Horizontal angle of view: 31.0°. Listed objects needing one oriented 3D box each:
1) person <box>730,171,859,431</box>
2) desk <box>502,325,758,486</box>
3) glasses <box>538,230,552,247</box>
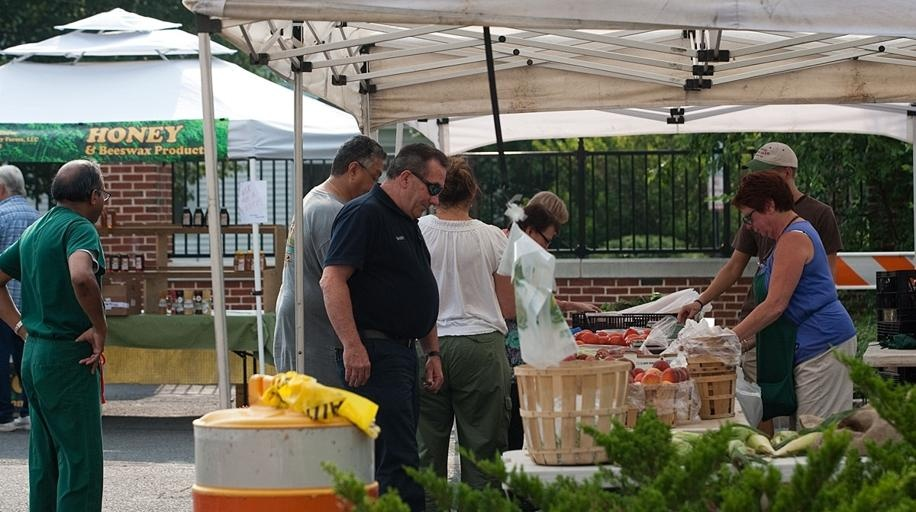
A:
[{"bbox_3d":[3.536,0.584,18.111,1.176,3.177,1.028,4,0,-18],"label":"person"},{"bbox_3d":[1.619,1.443,16.636,3.303,1.051,1.743,0,0,-43],"label":"desk"},{"bbox_3d":[0.973,-0.201,18.339,0.187,0.163,0.145,-6,6,6],"label":"glasses"}]
